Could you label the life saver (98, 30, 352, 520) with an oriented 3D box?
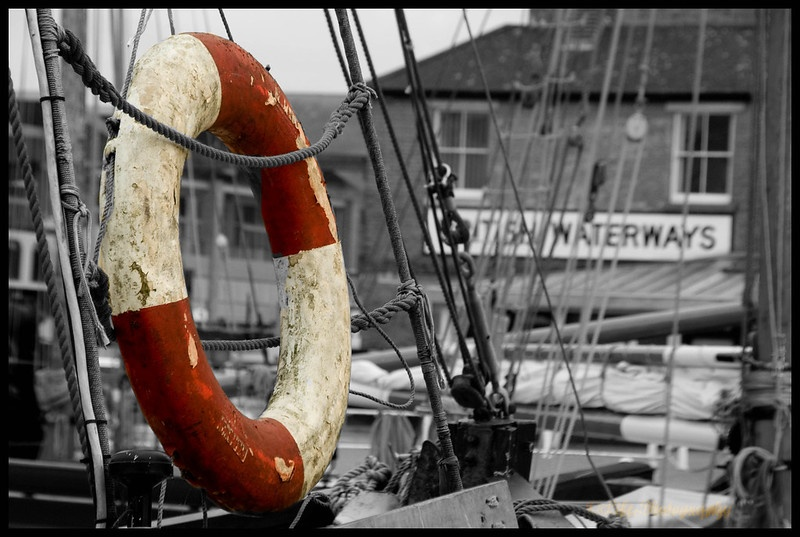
[{"bbox_3d":[-0.912,0.007,6.550,1.370,2.613,0.428,0,-3,-36],"label":"life saver"}]
